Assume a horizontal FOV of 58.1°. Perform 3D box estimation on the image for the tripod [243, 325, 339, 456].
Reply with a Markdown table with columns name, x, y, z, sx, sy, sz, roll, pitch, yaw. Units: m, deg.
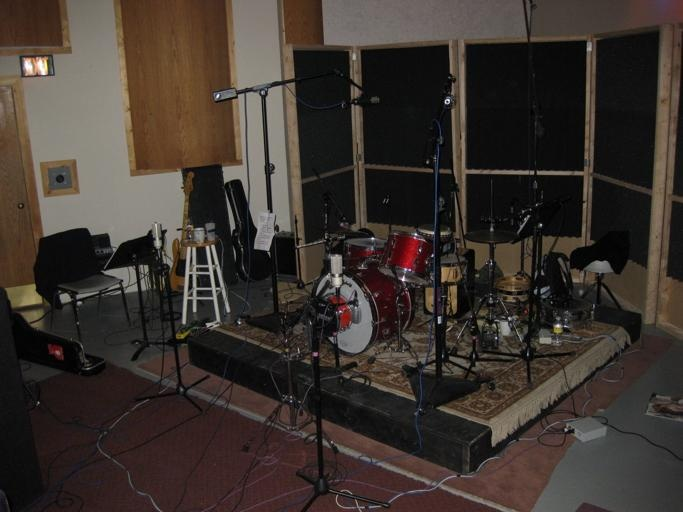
| name | x | y | z | sx | sy | sz | roll | pitch | yaw |
| --- | --- | --- | --- | --- | --- | --- | --- | --- | --- |
| tripod | -0.501 | 1.044 | 5.095 | 0.772 | 1.093 | 0.719 | -8 | 31 | -15 |

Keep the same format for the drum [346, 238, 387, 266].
| name | x | y | z | sx | sy | sz | roll | pitch | yaw |
| --- | --- | --- | --- | --- | --- | --- | --- | --- | --- |
| drum | 0.222 | -0.055 | 6.062 | 0.296 | 0.284 | 0.303 | 21 | 38 | 36 |

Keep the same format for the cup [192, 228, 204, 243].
| name | x | y | z | sx | sy | sz | roll | pitch | yaw |
| --- | --- | --- | --- | --- | --- | --- | --- | --- | --- |
| cup | -1.526 | -0.225 | 6.602 | 0.134 | 0.159 | 0.145 | 0 | 3 | 0 |

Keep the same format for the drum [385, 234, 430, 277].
| name | x | y | z | sx | sy | sz | roll | pitch | yaw |
| --- | --- | --- | --- | --- | --- | --- | --- | --- | --- |
| drum | 0.607 | -0.027 | 5.551 | 0.356 | 0.277 | 0.370 | 16 | -7 | 2 |

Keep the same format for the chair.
| name | x | y | z | sx | sy | sz | roll | pitch | yaw |
| --- | --- | --- | --- | --- | --- | --- | --- | --- | --- |
| chair | -2.663 | 0.297 | 6.441 | 0.737 | 1.085 | 0.825 | 4 | 16 | 12 |

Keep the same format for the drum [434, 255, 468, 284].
| name | x | y | z | sx | sy | sz | roll | pitch | yaw |
| --- | --- | --- | --- | --- | --- | --- | --- | --- | --- |
| drum | 1.082 | 0.133 | 5.982 | 0.269 | 0.186 | 0.280 | -5 | 3 | 0 |

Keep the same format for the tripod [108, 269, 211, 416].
| name | x | y | z | sx | sy | sz | roll | pitch | yaw |
| --- | --- | --- | --- | --- | --- | --- | --- | --- | --- |
| tripod | -1.500 | 0.820 | 6.003 | 0.970 | 1.231 | 1.154 | -9 | 18 | -36 |

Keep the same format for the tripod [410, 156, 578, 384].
| name | x | y | z | sx | sy | sz | roll | pitch | yaw |
| --- | --- | --- | --- | --- | --- | --- | --- | --- | --- |
| tripod | 1.578 | 0.136 | 6.180 | 1.612 | 2.883 | 1.768 | -1 | 10 | -2 |

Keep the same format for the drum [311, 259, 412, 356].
| name | x | y | z | sx | sy | sz | roll | pitch | yaw |
| --- | --- | --- | --- | --- | --- | --- | --- | --- | --- |
| drum | 0.275 | 0.455 | 5.669 | 0.951 | 1.020 | 0.745 | 10 | 18 | 33 |

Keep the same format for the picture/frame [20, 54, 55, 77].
| name | x | y | z | sx | sy | sz | roll | pitch | yaw |
| --- | --- | --- | --- | --- | --- | --- | --- | --- | --- |
| picture/frame | -3.601 | -2.244 | 7.262 | 0.370 | 0.252 | 0.078 | -11 | 15 | -27 |
